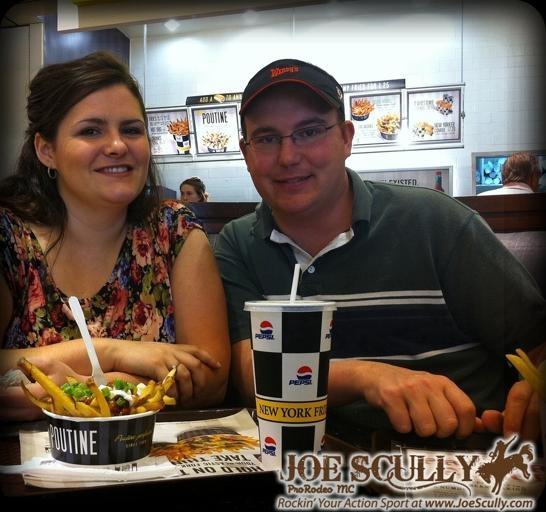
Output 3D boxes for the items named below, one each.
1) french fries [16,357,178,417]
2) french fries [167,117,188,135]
[{"bbox_3d":[-0.325,0.251,0.926,0.209,0.078,0.145,-1,-9,-12],"label":"french fries"},{"bbox_3d":[-0.436,-0.593,2.284,0.074,0.036,0.072,0,-6,-7],"label":"french fries"}]
